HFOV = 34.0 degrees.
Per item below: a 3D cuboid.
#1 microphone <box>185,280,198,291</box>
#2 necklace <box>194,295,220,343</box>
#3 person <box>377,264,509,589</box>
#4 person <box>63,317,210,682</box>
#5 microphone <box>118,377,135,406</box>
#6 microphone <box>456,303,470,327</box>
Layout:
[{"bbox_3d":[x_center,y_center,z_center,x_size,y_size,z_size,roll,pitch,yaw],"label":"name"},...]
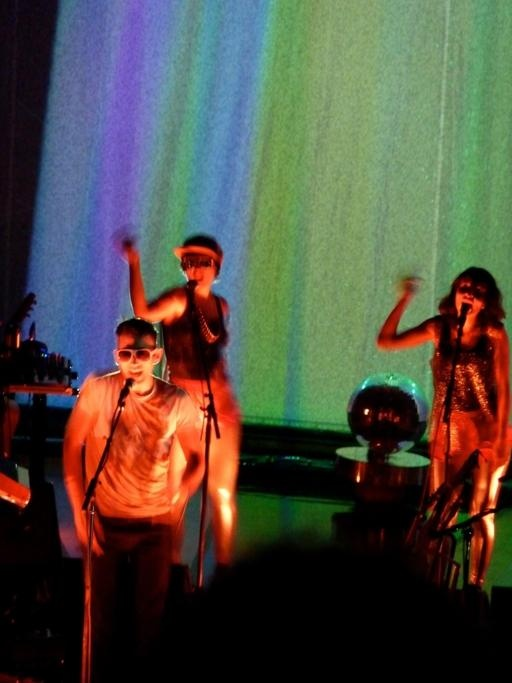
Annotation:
[{"bbox_3d":[-0.279,-0.249,3.664,0.034,0.018,0.039,-13,37,-23],"label":"microphone"},{"bbox_3d":[-0.214,-0.101,3.697,0.043,0.165,0.107,-16,0,16],"label":"necklace"},{"bbox_3d":[0.900,0.369,3.641,0.567,1.042,0.974,5,5,-12],"label":"person"},{"bbox_3d":[-0.427,0.527,3.021,0.542,1.192,0.580,5,4,-15],"label":"person"},{"bbox_3d":[-0.427,0.168,2.756,0.027,0.145,0.038,12,30,-8],"label":"microphone"},{"bbox_3d":[0.880,-0.101,3.544,0.034,0.152,0.043,11,-29,7],"label":"microphone"}]
